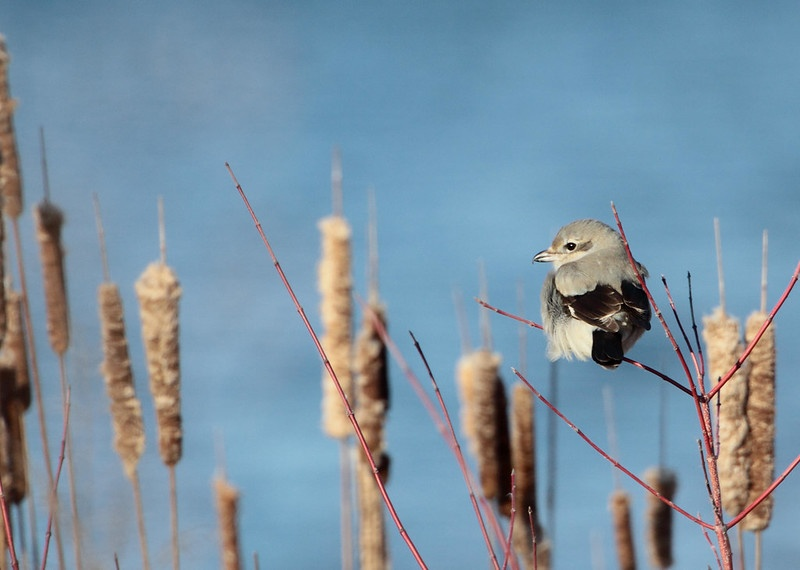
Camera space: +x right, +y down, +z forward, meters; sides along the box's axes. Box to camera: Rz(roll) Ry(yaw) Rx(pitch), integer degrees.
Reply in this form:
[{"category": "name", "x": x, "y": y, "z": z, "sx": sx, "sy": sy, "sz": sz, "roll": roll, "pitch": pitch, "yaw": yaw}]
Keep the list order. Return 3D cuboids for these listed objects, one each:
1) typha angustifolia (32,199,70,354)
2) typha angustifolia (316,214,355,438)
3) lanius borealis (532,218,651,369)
[{"category": "typha angustifolia", "x": -1.177, "y": -0.033, "z": 5.987, "sx": 0.099, "sy": 0.497, "sz": 0.205, "roll": -3, "pitch": -25, "yaw": -1}, {"category": "typha angustifolia", "x": -0.201, "y": 0.161, "z": 5.772, "sx": 0.144, "sy": 0.770, "sz": 0.178, "roll": -2, "pitch": 2, "yaw": -22}, {"category": "lanius borealis", "x": 0.648, "y": 0.050, "z": 5.780, "sx": 0.488, "sy": 0.508, "sz": 0.258, "roll": -2, "pitch": 2, "yaw": -26}]
